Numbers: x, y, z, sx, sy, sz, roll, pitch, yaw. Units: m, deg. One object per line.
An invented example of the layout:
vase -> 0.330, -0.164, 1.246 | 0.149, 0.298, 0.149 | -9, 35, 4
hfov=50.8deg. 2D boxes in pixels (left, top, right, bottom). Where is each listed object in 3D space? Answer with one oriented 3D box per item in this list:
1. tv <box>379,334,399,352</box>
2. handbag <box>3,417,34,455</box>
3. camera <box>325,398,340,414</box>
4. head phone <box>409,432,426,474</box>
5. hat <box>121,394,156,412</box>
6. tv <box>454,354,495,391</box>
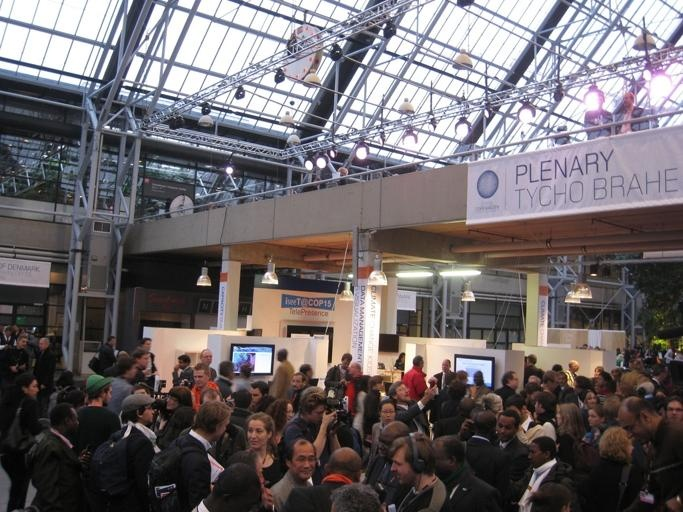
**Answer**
tv -> 1.334, 2.480, 20.420 | 0.578, 0.533, 0.064 | 7, -19, -27
handbag -> -4.090, 2.301, 9.122 | 0.445, 0.578, 0.272 | 4, -3, -26
camera -> -0.093, 1.620, 7.789 | 0.150, 0.156, 0.115 | 1, 2, 18
head phone -> 0.703, 1.854, 6.704 | 0.102, 0.288, 0.234 | -12, -18, -1
hat -> -2.182, 1.563, 7.692 | 0.241, 0.096, 0.177 | -10, 1, -18
tv -> 2.452, 2.121, 13.051 | 0.073, 0.539, 0.715 | 18, -16, -32
